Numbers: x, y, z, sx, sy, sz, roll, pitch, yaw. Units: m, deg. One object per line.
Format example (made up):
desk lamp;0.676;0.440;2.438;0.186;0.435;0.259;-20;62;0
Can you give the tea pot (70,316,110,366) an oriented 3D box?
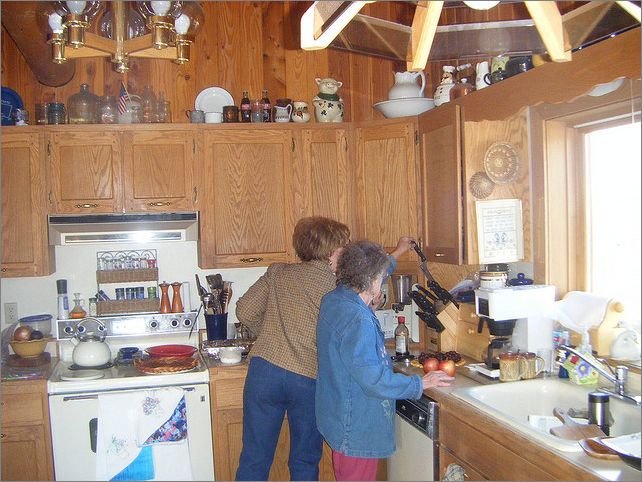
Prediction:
tea pot;-1.395;0.613;3.428;0.279;0.315;0.268;1;0;0

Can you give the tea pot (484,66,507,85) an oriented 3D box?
tea pot;0.878;-0.839;2.775;0.108;0.111;0.072;3;14;17

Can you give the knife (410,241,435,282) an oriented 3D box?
knife;0.599;0.134;3.213;0.086;0.291;0.014;-34;22;-22

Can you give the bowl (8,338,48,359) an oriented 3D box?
bowl;-1.785;0.660;3.366;0.141;0.076;0.145;-1;-5;0

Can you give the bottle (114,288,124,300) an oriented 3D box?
bottle;-1.330;0.358;3.650;0.065;0.107;0.065;0;2;0

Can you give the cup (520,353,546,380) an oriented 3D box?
cup;1.002;0.605;2.627;0.140;0.141;0.085;0;1;9

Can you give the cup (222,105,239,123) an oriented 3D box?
cup;-0.578;-0.818;3.540;0.122;0.109;0.077;1;1;-30

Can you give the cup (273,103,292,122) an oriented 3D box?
cup;-0.245;-0.828;3.574;0.133;0.147;0.095;-1;4;-23

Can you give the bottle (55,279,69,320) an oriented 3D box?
bottle;-1.692;0.390;3.604;0.063;0.254;0.148;-4;0;-27

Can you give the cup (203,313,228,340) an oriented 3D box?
cup;-0.661;0.557;3.549;0.154;0.166;0.156;1;5;0

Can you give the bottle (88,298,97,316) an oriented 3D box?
bottle;-1.510;0.444;3.648;0.052;0.121;0.126;-4;0;-25

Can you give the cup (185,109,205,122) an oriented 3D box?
cup;-0.796;-0.796;3.524;0.111;0.092;0.134;-4;0;-17

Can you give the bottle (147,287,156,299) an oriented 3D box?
bottle;-1.135;0.354;3.697;0.062;0.074;0.064;1;-1;28

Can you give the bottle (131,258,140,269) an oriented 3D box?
bottle;-1.240;0.155;3.698;0.048;0.065;0.023;-4;0;-22

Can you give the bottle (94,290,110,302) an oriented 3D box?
bottle;-1.456;0.367;3.678;0.074;0.021;0.076;26;11;-5

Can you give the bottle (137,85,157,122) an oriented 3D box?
bottle;-1.125;-0.894;3.594;0.106;0.256;0.266;-4;0;-17

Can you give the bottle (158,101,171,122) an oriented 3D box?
bottle;-1.012;-0.836;3.539;0.062;0.152;0.120;-4;0;-9

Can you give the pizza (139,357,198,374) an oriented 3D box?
pizza;-0.918;0.736;3.237;0.181;0.040;0.148;-3;0;-8

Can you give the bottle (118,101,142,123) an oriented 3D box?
bottle;-1.179;-0.797;3.499;0.141;0.168;0.144;0;-3;-4

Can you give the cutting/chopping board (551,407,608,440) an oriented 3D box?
cutting/chopping board;1.014;0.724;2.152;0.150;0.021;0.260;0;0;-3

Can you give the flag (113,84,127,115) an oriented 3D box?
flag;-1.286;-0.934;3.580;0.079;0.226;0.312;-4;0;-19

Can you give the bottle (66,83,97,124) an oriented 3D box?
bottle;-1.501;-0.861;3.469;0.185;0.242;0.102;-4;0;-19

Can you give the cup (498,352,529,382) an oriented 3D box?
cup;0.906;0.610;2.613;0.141;0.142;0.091;-1;1;12

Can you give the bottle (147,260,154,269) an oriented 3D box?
bottle;-1.138;0.159;3.709;0.049;0.056;0.051;-1;-5;3

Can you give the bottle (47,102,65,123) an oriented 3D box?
bottle;-1.649;-0.792;3.430;0.104;0.138;0.088;-4;0;-27

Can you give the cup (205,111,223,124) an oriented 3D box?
cup;-0.683;-0.790;3.518;0.097;0.071;0.075;1;1;-12

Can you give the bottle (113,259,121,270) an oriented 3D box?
bottle;-1.343;0.161;3.664;0.057;0.069;0.050;-4;0;39

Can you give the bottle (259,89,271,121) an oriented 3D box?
bottle;-0.366;-0.917;3.711;0.067;0.227;0.287;-4;0;-5

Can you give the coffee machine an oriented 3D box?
coffee machine;1.008;0.408;2.727;0.478;0.633;0.300;0;1;0

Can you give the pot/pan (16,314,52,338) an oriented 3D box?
pot/pan;-1.816;0.530;3.513;0.153;0.122;0.162;1;-1;-18

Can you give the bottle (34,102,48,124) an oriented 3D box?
bottle;-1.744;-0.798;3.450;0.093;0.129;0.035;-4;0;18

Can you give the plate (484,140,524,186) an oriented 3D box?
plate;0.963;-0.406;2.881;0.204;0.214;0.048;11;9;-10

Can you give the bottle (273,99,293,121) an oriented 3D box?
bottle;-0.244;-0.851;3.659;0.146;0.167;0.116;5;-4;-11

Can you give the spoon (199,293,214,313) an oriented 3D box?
spoon;-0.729;0.410;3.531;0.087;0.127;0.050;-4;0;44

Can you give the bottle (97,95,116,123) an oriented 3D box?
bottle;-1.339;-0.829;3.467;0.115;0.177;0.097;-4;0;-23

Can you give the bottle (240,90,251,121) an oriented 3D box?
bottle;-0.486;-0.848;3.562;0.069;0.199;0.111;-4;0;-8

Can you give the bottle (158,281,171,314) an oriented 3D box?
bottle;-1.053;0.394;3.712;0.079;0.200;0.185;-4;0;-16

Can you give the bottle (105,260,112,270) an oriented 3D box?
bottle;-1.398;0.169;3.677;0.060;0.071;0.061;2;-6;-15

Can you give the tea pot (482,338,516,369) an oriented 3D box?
tea pot;0.886;0.571;2.806;0.143;0.149;0.108;-5;7;-17

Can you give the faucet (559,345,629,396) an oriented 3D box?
faucet;1.220;0.579;2.469;0.279;0.217;0.216;-4;0;27

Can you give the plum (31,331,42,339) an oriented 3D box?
plum;-1.738;0.586;3.370;0.061;0.051;0.043;-4;0;-20

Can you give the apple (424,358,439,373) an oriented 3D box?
apple;0.561;0.641;2.796;0.065;0.064;0.067;-2;-4;-21

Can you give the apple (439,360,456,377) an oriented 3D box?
apple;0.626;0.634;2.730;0.071;0.079;0.073;-1;7;4

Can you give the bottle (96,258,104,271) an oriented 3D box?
bottle;-1.468;0.158;3.678;0.066;0.075;0.019;-4;0;30

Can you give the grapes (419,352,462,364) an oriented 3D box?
grapes;0.630;0.620;2.935;0.101;0.041;0.130;0;-2;-38

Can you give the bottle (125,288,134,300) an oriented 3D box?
bottle;-1.268;0.360;3.660;0.063;0.114;0.064;0;0;0

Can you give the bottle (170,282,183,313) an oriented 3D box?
bottle;-0.978;0.392;3.733;0.083;0.200;0.186;-4;0;-15

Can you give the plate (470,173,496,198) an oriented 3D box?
plate;0.847;-0.282;2.902;0.123;0.137;0.044;-21;8;-20

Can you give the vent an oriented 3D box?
vent;-1.225;-0.079;3.434;0.913;0.202;0.103;-4;0;-4

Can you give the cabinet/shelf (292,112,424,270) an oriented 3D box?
cabinet/shelf;0.236;-0.297;3.313;0.930;1.345;0.456;0;-3;-4
